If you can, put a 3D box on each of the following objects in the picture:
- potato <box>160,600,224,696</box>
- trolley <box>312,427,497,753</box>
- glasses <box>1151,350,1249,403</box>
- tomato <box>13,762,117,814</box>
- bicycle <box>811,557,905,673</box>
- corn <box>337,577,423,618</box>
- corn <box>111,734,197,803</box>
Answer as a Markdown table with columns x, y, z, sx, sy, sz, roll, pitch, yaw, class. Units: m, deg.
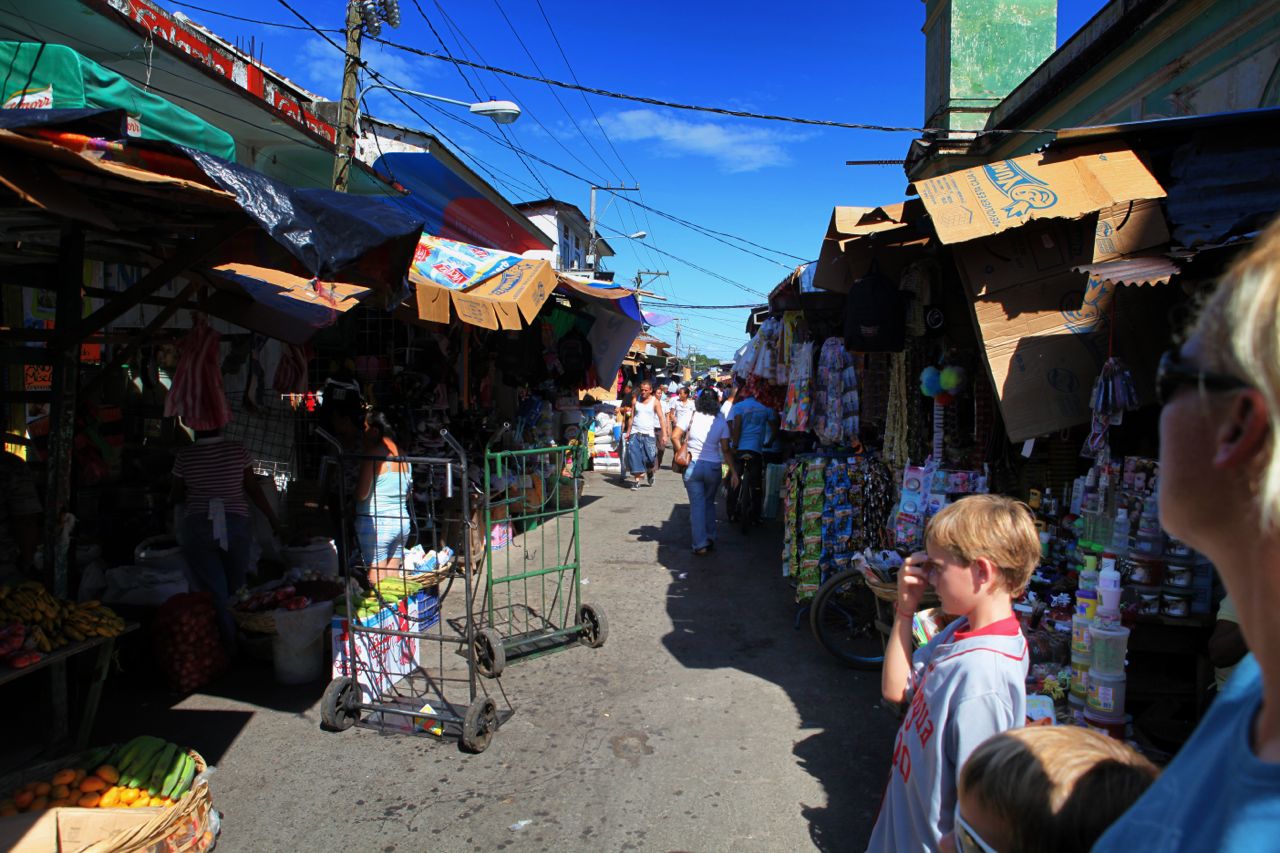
| x | y | z | sx | sy | sz | roll | pitch | yaw | class |
| --- | --- | --- | --- | --- | --- | --- | --- | --- | --- |
| -3.845 | 1.907 | 8.147 | 0.449 | 0.766 | 0.508 | 5 | -4 | -18 | potato |
| -1.938 | 1.396 | 8.074 | 1.287 | 2.688 | 1.536 | 1 | -3 | 7 | trolley |
| 2.023 | -0.170 | 3.400 | 0.211 | 0.078 | 0.208 | 18 | 3 | 21 | glasses |
| -3.727 | 2.362 | 6.136 | 0.448 | 0.161 | 0.251 | -6 | 1 | 6 | tomato |
| 2.000 | 1.715 | 8.366 | 0.948 | 1.022 | 0.192 | -15 | 15 | 15 | bicycle |
| -2.135 | 1.409 | 7.745 | 0.277 | 0.070 | 0.717 | 20 | 0 | 12 | corn |
| -3.254 | 2.281 | 6.296 | 0.510 | 0.369 | 0.386 | 1 | -2 | 41 | corn |
